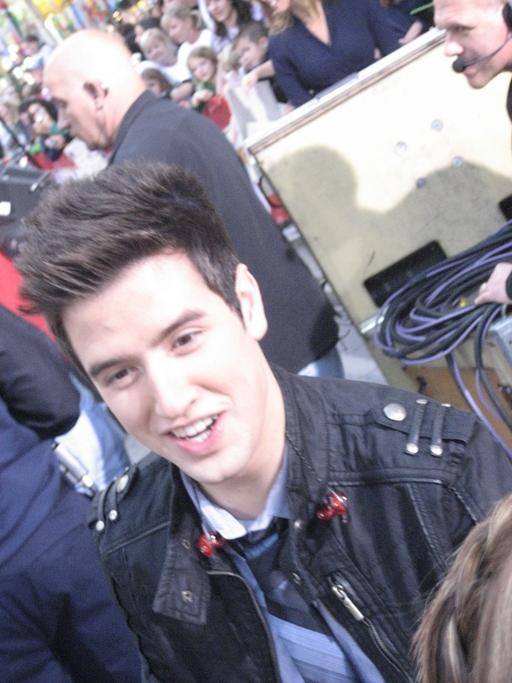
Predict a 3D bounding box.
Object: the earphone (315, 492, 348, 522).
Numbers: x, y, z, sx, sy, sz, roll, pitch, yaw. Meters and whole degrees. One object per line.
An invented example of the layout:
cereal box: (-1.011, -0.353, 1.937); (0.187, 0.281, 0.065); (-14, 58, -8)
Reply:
earphone: (0.170, 0.376, 1.425); (0.074, 0.058, 0.034); (-33, -5, -1)

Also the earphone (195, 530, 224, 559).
earphone: (-0.111, 0.483, 1.491); (0.052, 0.054, 0.058); (6, 6, 31)
